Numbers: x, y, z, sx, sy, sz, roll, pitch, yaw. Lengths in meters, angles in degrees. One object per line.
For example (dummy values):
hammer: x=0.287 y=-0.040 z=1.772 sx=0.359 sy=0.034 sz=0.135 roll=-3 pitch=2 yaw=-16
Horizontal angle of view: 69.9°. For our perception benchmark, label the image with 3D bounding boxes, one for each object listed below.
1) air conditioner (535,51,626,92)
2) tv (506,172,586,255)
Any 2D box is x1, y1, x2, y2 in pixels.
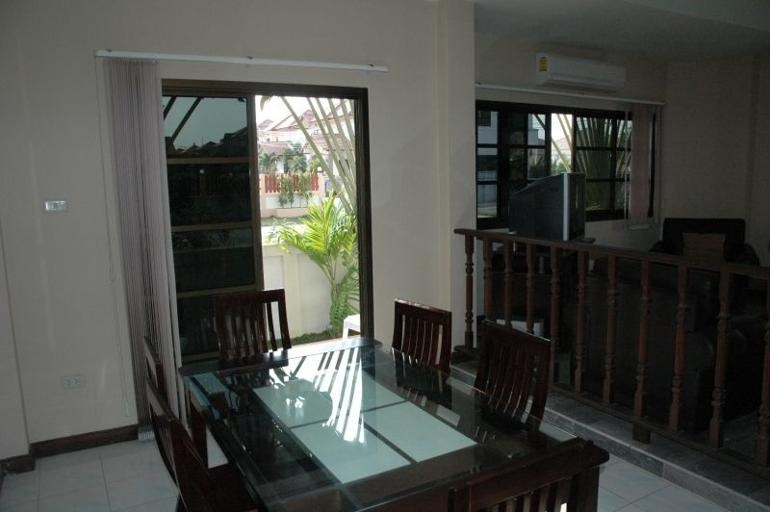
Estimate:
air conditioner: x=2.331 y=-2.191 z=6.601 sx=1.287 sy=0.413 sz=0.241 roll=-9 pitch=10 yaw=-27
tv: x=1.748 y=-0.505 z=5.929 sx=0.842 sy=0.706 sz=0.863 roll=2 pitch=11 yaw=13
